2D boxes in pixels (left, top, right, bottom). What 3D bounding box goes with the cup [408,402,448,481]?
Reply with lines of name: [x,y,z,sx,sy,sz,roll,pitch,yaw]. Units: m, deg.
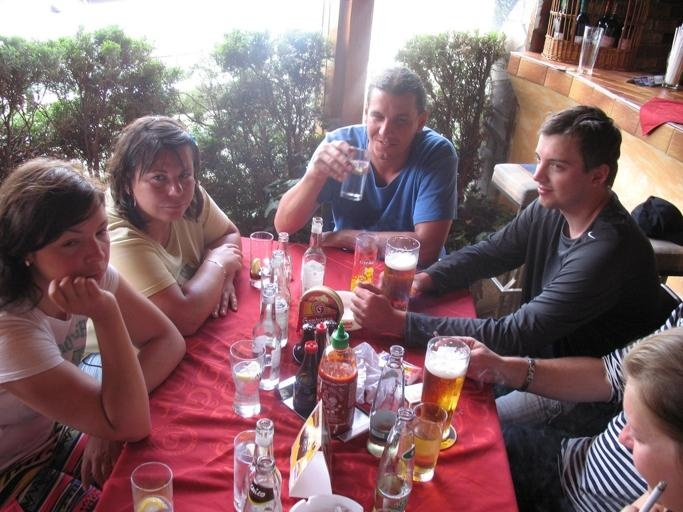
cup: [0.255,0.528,1.344,0.144,0.211,0.103,2,14,-15]

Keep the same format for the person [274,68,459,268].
person: [0.351,-0.628,2.903,0.896,1.238,1.191,13,34,13]

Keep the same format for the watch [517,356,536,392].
watch: [0.692,0.439,1.715,0.032,0.105,0.086,5,-8,32]

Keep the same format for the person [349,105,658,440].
person: [0.665,-0.163,2.486,1.427,1.615,1.079,0,21,3]
